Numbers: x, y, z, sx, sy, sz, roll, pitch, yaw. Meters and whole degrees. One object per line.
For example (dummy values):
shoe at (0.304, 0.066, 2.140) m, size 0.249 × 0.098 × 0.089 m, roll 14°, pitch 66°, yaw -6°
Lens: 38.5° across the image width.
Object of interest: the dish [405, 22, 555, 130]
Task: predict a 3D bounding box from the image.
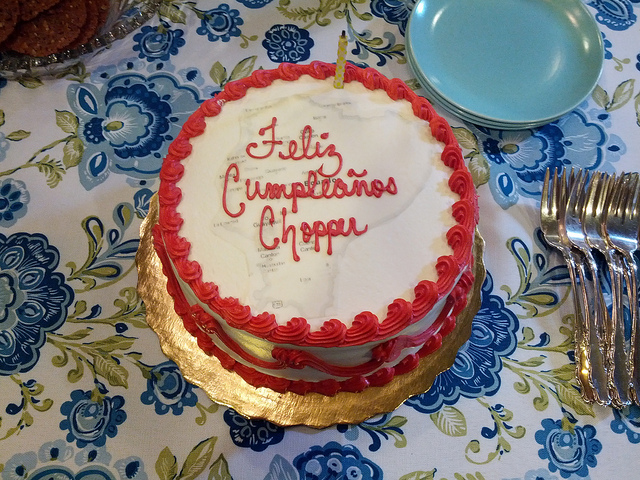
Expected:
dish at (0.571, -0.542, 3.756) m, size 0.747 × 0.361 × 0.636 m, roll -1°, pitch 40°, yaw 3°

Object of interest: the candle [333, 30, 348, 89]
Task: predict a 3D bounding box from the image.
candle at (0.076, -0.650, 3.336) m, size 0.058 × 0.207 × 0.154 m, roll -6°, pitch 17°, yaw -4°
